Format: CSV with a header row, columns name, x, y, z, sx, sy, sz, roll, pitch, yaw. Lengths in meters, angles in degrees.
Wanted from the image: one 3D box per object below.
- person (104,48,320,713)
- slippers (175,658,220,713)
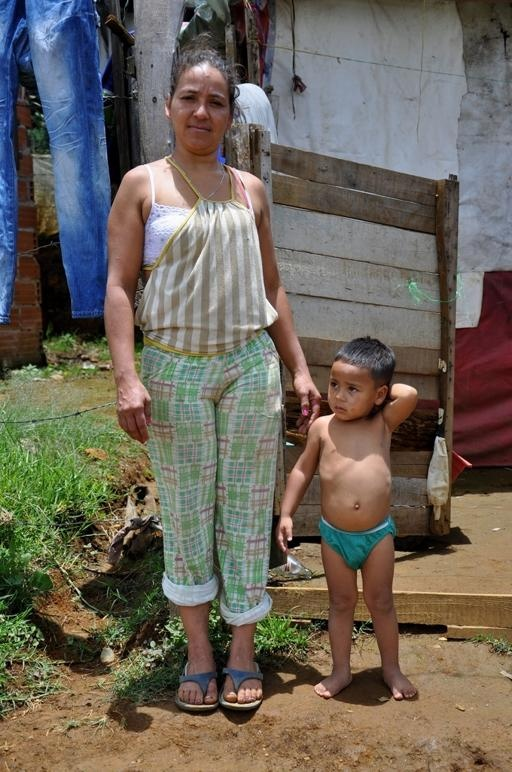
name,x,y,z,sx,sy,sz,roll,pitch,yaw
person,-0.150,-0.032,2.646,0.493,2.135,0.711,5,15,28
slippers,-0.184,0.986,2.665,0.130,0.070,0.325,1,3,-2
